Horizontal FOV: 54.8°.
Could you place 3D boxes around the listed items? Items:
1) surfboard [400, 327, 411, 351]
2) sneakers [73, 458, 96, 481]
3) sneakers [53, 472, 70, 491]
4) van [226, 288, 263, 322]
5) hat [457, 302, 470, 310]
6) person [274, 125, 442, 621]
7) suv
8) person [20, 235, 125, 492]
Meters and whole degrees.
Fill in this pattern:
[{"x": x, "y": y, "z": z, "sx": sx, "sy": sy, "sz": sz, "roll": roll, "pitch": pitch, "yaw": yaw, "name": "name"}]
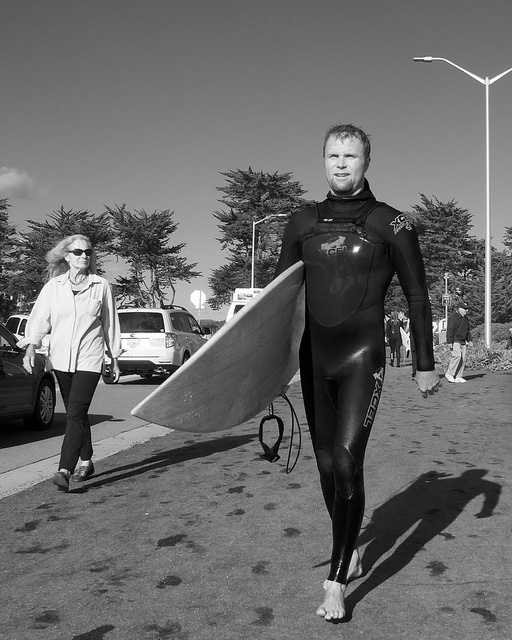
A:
[{"x": 6.517, "y": 0.820, "z": 21.550, "sx": 0.224, "sy": 1.557, "sz": 0.441, "roll": -4, "pitch": 2, "yaw": -23, "name": "surfboard"}, {"x": -1.449, "y": 1.276, "z": 4.187, "sx": 0.092, "sy": 0.121, "sz": 0.280, "roll": -3, "pitch": -6, "yaw": 8, "name": "sneakers"}, {"x": -1.465, "y": 1.212, "z": 3.719, "sx": 0.088, "sy": 0.181, "sz": 0.079, "roll": 0, "pitch": 13, "yaw": 10, "name": "sneakers"}, {"x": -0.448, "y": -0.740, "z": 19.823, "sx": 1.072, "sy": 1.147, "sz": 1.890, "roll": 1, "pitch": -2, "yaw": 2, "name": "van"}, {"x": 5.654, "y": -0.392, "z": 13.475, "sx": 0.257, "sy": 0.272, "sz": 0.439, "roll": -3, "pitch": -6, "yaw": 23, "name": "hat"}, {"x": 0.316, "y": 0.147, "z": 1.879, "sx": 0.740, "sy": 1.801, "sz": 0.589, "roll": -1, "pitch": -4, "yaw": 19, "name": "person"}, {"x": -2.737, "y": 0.558, "z": 15.512, "sx": 2.147, "sy": 1.896, "sz": 4.460, "roll": -2, "pitch": 3, "yaw": 14, "name": "suv"}, {"x": -1.502, "y": 0.306, "z": 4.030, "sx": 0.749, "sy": 2.080, "sz": 0.506, "roll": 1, "pitch": -6, "yaw": -16, "name": "person"}]
